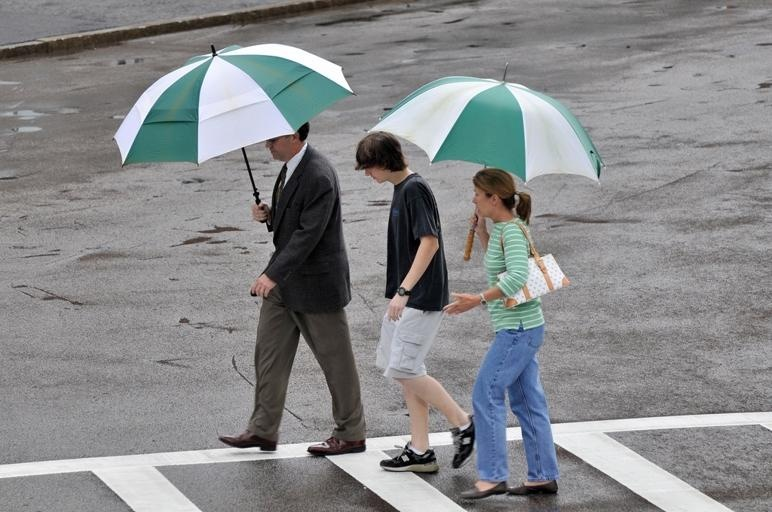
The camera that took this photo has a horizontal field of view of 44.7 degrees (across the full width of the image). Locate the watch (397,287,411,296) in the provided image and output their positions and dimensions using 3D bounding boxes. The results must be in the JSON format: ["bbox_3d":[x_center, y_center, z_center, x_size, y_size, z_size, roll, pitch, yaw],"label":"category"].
[{"bbox_3d":[0.158,0.337,8.680,0.114,0.068,0.101,3,-1,44],"label":"watch"}]

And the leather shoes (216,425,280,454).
[{"bbox_3d":[-1.352,1.811,9.277,0.641,0.248,0.215,9,-4,-4],"label":"leather shoes"}]

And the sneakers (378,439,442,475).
[{"bbox_3d":[0.233,1.981,9.146,0.661,0.274,0.220,2,-6,-1],"label":"sneakers"}]

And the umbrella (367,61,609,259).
[{"bbox_3d":[0.848,-0.886,8.687,1.515,1.120,1.405,20,29,-2],"label":"umbrella"}]

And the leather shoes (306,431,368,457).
[{"bbox_3d":[-0.505,1.877,9.323,0.642,0.244,0.215,1,-1,-6],"label":"leather shoes"}]

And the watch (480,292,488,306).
[{"bbox_3d":[0.870,0.394,8.478,0.070,0.087,0.092,-9,1,-4],"label":"watch"}]

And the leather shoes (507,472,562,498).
[{"bbox_3d":[1.379,2.156,8.791,0.540,0.179,0.168,2,0,4],"label":"leather shoes"}]

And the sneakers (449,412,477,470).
[{"bbox_3d":[0.718,1.771,9.055,0.270,0.526,0.191,21,-2,-12],"label":"sneakers"}]

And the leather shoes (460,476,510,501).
[{"bbox_3d":[0.921,2.161,8.703,0.478,0.159,0.162,-5,3,-3],"label":"leather shoes"}]
